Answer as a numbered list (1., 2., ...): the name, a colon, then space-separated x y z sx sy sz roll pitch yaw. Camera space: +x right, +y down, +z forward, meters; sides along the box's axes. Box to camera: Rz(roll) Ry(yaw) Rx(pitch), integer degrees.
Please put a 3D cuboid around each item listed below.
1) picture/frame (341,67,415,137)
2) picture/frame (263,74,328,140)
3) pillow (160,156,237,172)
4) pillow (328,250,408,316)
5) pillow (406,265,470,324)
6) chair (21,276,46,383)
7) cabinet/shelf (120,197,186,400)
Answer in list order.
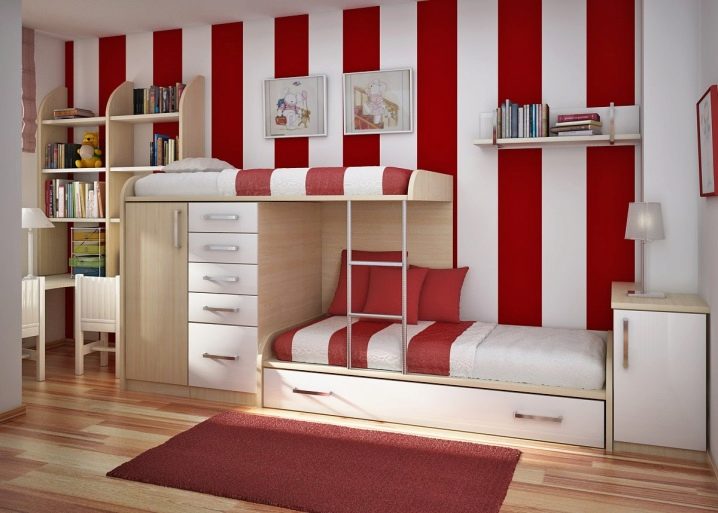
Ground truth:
1. picture/frame: 0.197 -1.324 4.830 0.643 0.531 0.042 1 0 18
2. picture/frame: -0.539 -1.343 5.058 0.625 0.514 0.066 1 1 18
3. pillow: -1.280 -0.740 4.609 0.302 0.077 0.271 -2 2 -32
4. pillow: 0.049 0.214 4.806 0.626 0.533 0.189 -3 -13 38
5. pillow: 0.668 0.299 4.545 0.440 0.410 0.132 3 -7 5
6. chair: -2.725 0.613 4.747 0.145 0.872 0.195 -1 8 -4
7. cabinet/shelf: -1.641 0.290 4.557 0.636 1.429 0.157 2 8 16
